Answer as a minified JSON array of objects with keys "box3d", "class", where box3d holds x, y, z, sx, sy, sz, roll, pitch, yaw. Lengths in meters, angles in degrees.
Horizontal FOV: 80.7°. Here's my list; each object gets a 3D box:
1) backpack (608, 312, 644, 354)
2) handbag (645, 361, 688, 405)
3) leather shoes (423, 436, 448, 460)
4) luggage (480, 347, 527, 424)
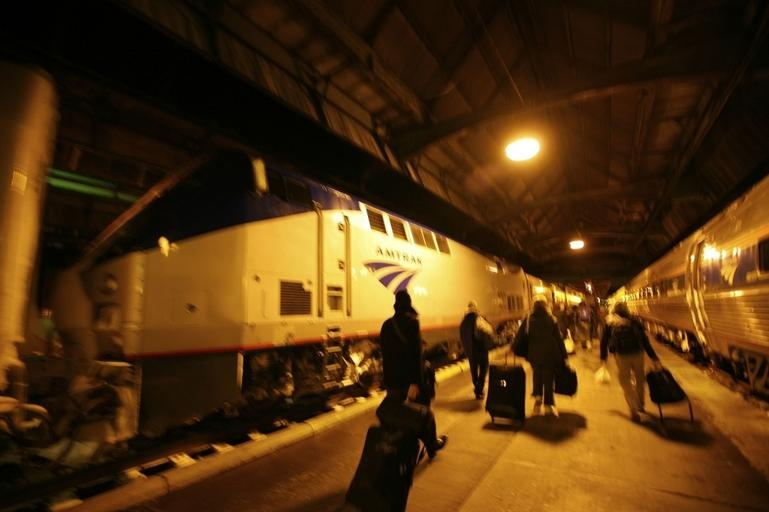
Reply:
[{"box3d":[4.463,1.428,8.427,0.482,0.706,0.693,-9,19,2],"class":"backpack"},{"box3d":[4.976,2.288,7.999,0.593,0.633,0.316,-2,8,-8],"class":"handbag"},{"box3d":[0.839,3.043,7.285,0.199,0.268,0.670,-4,6,22],"class":"leather shoes"},{"box3d":[2.211,2.483,8.234,0.674,1.139,0.471,1,8,13],"class":"luggage"}]
